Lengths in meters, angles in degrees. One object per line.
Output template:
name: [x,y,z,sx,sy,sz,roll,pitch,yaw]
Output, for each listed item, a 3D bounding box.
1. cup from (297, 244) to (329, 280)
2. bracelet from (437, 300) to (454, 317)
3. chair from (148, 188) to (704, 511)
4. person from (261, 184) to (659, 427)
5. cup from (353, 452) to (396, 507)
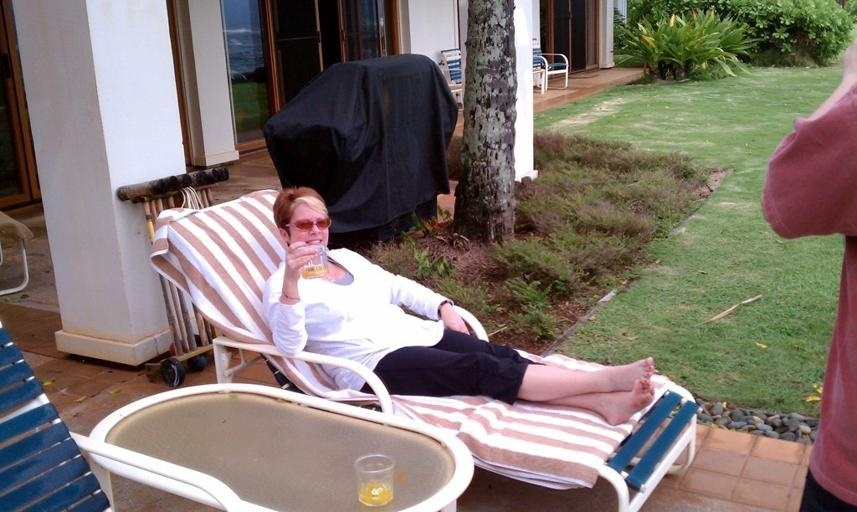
cup: [-0.673,0.041,3.538,0.220,0.179,0.222,-4,-5,0]
bracelet: [0.129,0.367,4.067,0.106,0.105,0.039,11,-7,44]
chair: [-0.272,0.640,4.172,3.872,1.616,1.649,15,26,27]
person: [0.147,0.335,3.712,2.319,1.037,1.325,9,20,18]
cup: [-0.235,1.017,2.703,0.177,0.141,0.188,0,6,0]
